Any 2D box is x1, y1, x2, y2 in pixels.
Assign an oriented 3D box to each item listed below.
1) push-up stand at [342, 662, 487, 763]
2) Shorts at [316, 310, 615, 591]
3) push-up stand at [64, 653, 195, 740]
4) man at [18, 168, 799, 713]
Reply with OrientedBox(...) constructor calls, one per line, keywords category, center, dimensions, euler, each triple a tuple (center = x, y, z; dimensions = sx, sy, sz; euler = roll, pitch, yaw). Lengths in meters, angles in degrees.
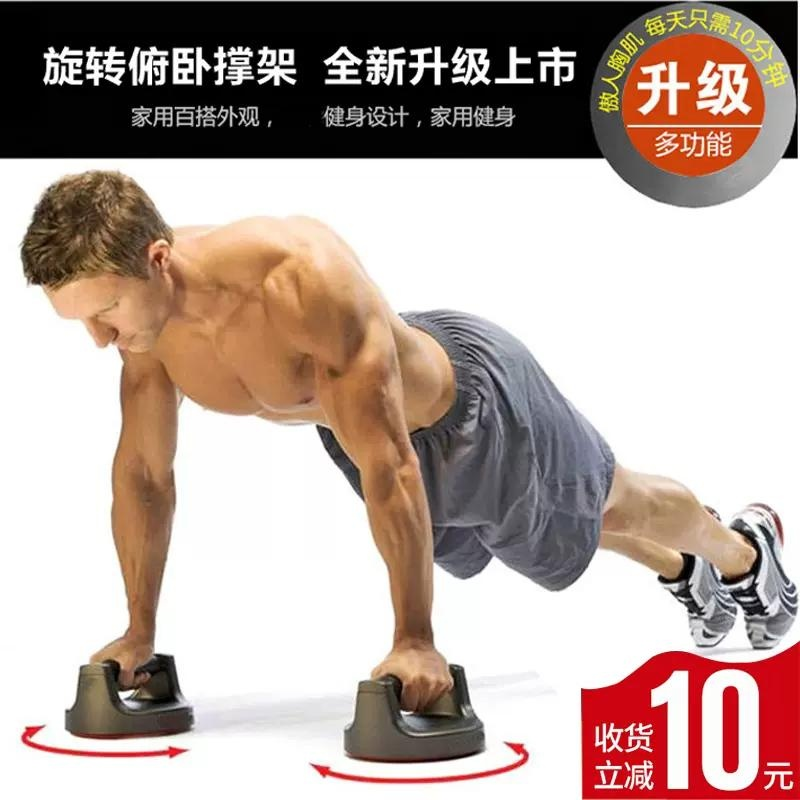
OrientedBox(category="push-up stand", center=(0.026, 0.600, 2.328), dimensions=(0.248, 0.145, 0.300), euler=(-3, -8, 32))
OrientedBox(category="Shorts", center=(0.131, 0.086, 2.691), dimensions=(0.290, 0.393, 0.941), euler=(-34, -45, 28))
OrientedBox(category="push-up stand", center=(-0.577, 0.626, 2.552), dimensions=(0.217, 0.155, 0.315), euler=(-7, -11, 29))
OrientedBox(category="man", center=(0.010, 0.144, 3.123), dimensions=(2.251, 0.918, 0.837), euler=(9, -22, -43))
